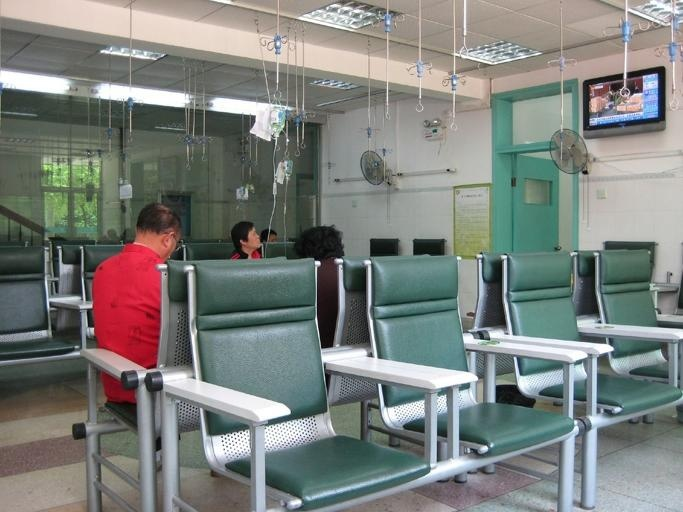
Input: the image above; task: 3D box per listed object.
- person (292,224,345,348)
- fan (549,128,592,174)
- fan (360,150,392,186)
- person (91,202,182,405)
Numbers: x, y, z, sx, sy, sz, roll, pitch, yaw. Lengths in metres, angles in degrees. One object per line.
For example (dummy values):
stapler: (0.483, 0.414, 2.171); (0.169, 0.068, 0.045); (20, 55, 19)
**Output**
person: (-0.122, 0.177, 3.362); (0.292, 0.713, 0.302); (-3, 7, -1)
fan: (2.878, -1.330, 7.034); (0.449, 0.551, 0.257); (-2, 7, 9)
fan: (0.628, -1.636, 10.207); (0.591, 0.618, 0.226); (-8, -4, -16)
person: (-1.000, 0.238, 2.831); (0.477, 1.004, 0.481); (-6, 7, -25)
